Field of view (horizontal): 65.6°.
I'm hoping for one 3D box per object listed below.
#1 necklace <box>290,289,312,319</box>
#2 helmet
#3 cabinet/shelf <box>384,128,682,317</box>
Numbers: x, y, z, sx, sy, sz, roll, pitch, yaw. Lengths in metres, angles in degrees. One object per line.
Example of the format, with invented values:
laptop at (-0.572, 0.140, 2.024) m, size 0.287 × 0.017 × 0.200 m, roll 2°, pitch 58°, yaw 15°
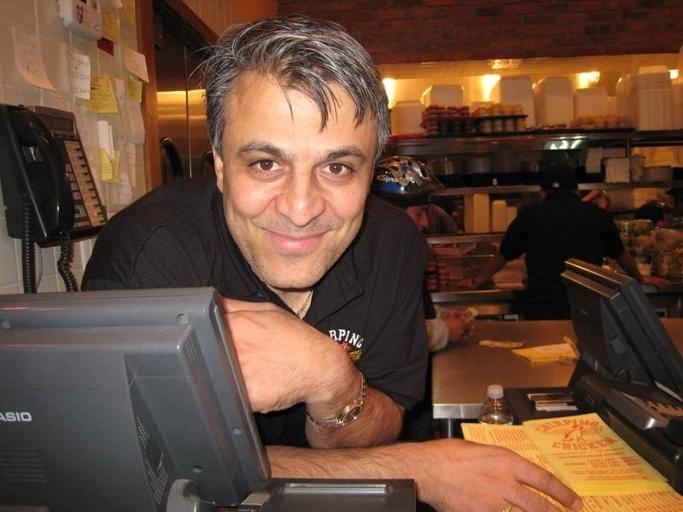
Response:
necklace at (-0.099, 0.138, 1.515) m, size 0.064 × 0.033 × 0.080 m, roll -33°, pitch 14°, yaw 34°
helmet at (0.414, -0.486, 3.336) m, size 0.472 × 0.185 × 0.294 m, roll -7°, pitch 19°, yaw -18°
cabinet/shelf at (1.327, -0.255, 3.619) m, size 2.118 × 0.873 × 0.542 m, roll 0°, pitch -7°, yaw 0°
